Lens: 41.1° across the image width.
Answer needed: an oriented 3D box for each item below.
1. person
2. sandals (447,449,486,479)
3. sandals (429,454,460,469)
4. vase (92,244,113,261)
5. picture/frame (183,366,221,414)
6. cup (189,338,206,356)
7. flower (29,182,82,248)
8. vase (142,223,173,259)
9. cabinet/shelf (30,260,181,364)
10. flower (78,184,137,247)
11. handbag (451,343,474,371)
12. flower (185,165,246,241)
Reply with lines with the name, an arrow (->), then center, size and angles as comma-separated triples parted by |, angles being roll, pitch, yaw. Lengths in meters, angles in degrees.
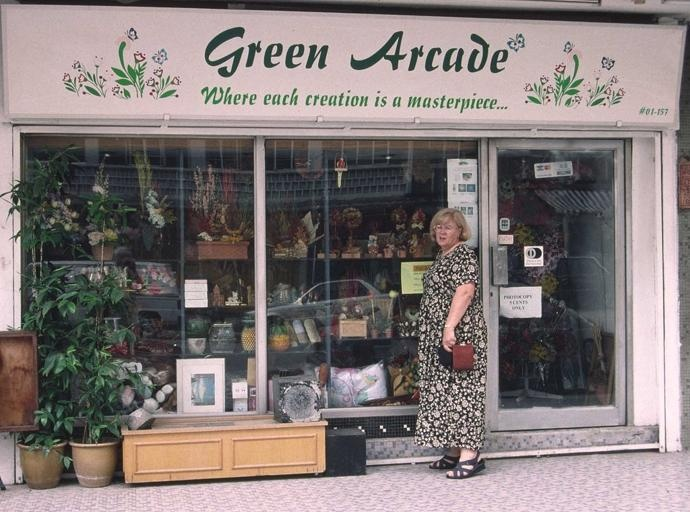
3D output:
person -> 0.952, 0.802, 8.439 | 0.667, 1.928, 0.503 | -3, -1, 15
sandals -> 1.123, 1.947, 8.505 | 0.367, 0.233, 0.175 | -10, 0, -23
sandals -> 0.939, 1.943, 8.636 | 0.291, 0.118, 0.113 | 2, -3, -7
vase -> -2.257, -0.029, 8.635 | 0.155, 0.124, 0.159 | 3, 3, 40
picture/frame -> -1.341, 1.277, 8.747 | 0.424, 0.520, 0.016 | 0, 15, -6
cup -> -1.391, 0.880, 8.773 | 0.144, 0.127, 0.140 | 2, -5, 0
flower -> -2.667, -0.370, 8.549 | 0.412, 0.613, 0.177 | -2, -1, -43
vase -> -1.765, -0.148, 8.760 | 0.277, 0.342, 0.316 | 2, 2, 11
cabinet/shelf -> -2.329, 0.404, 8.575 | 0.816, 0.693, 0.959 | 5, -1, 40
flower -> -2.226, -0.401, 8.616 | 0.361, 0.355, 0.453 | 2, -27, 2
handbag -> 1.074, 0.919, 8.258 | 0.174, 0.190, 0.235 | -3, 0, 20
flower -> -1.237, -0.541, 8.774 | 0.629, 0.937, 0.147 | -1, 9, -1
